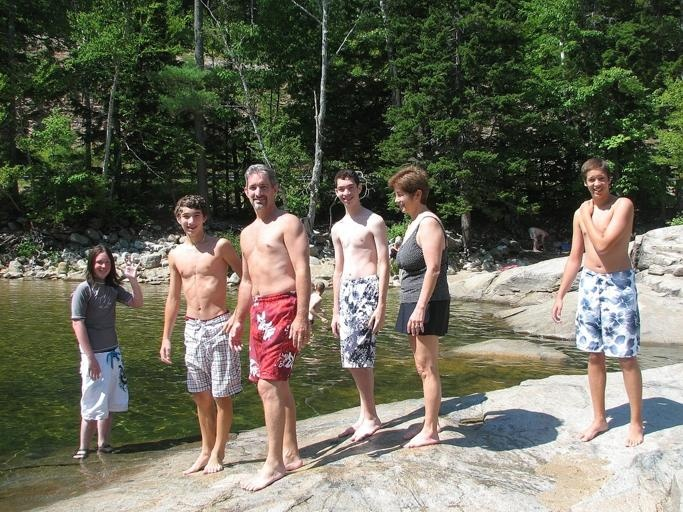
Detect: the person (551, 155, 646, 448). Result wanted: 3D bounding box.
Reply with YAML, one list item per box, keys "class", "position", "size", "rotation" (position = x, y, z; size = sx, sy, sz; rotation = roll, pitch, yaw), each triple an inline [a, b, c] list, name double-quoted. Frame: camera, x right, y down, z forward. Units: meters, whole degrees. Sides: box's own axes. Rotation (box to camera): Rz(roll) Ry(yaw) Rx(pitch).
- class: "person"
  position: [2.638, 0.422, 6.170]
  size: [0.624, 2.839, 0.807]
  rotation: [-4, 4, -25]

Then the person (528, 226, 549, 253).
- class: "person"
  position: [9.804, -0.778, 30.305]
  size: [0.720, 1.250, 1.394]
  rotation: [-1, 3, 19]

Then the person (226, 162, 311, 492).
- class: "person"
  position: [-0.729, 0.868, 5.949]
  size: [0.799, 2.573, 0.659]
  rotation: [-1, 4, 27]

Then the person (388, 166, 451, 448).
- class: "person"
  position: [0.819, 0.484, 6.192]
  size: [0.540, 2.836, 0.577]
  rotation: [-2, 3, 4]

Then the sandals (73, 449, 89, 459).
- class: "sandals"
  position: [-2.914, 2.206, 6.758]
  size: [0.171, 0.077, 0.169]
  rotation: [-3, 3, -8]

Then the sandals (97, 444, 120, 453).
- class: "sandals"
  position: [-2.668, 2.204, 6.885]
  size: [0.240, 0.061, 0.088]
  rotation: [-3, -7, 43]

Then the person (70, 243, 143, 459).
- class: "person"
  position: [-2.777, 1.055, 7.007]
  size: [0.513, 2.331, 0.847]
  rotation: [-1, 4, 30]

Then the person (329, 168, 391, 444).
- class: "person"
  position: [0.184, 0.516, 6.691]
  size: [0.593, 2.922, 0.783]
  rotation: [-5, 4, -38]
